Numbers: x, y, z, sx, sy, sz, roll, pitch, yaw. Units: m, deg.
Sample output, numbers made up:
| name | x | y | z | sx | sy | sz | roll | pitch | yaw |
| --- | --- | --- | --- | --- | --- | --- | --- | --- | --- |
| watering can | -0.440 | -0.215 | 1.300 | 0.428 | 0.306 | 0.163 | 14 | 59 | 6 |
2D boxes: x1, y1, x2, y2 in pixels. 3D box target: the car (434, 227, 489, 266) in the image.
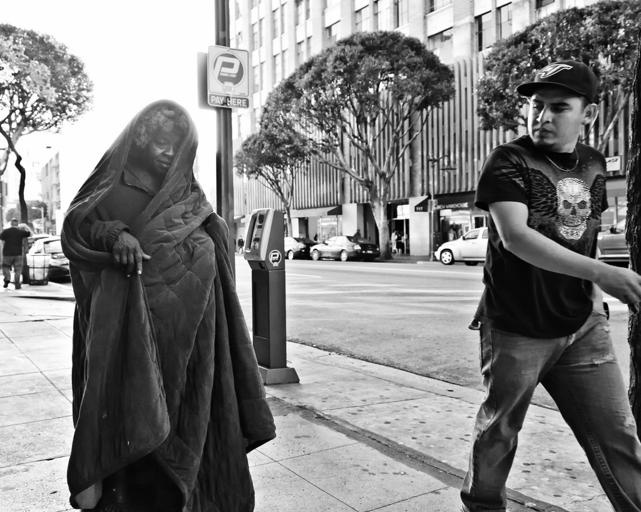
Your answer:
| name | x | y | z | sx | sy | sz | roll | pitch | yaw |
| --- | --- | --- | --- | --- | --- | --- | --- | --- | --- |
| car | 5.290 | -0.376 | 25.236 | 2.462 | 1.522 | 1.431 | 6 | 5 | 39 |

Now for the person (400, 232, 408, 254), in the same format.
| name | x | y | z | sx | sy | sz | roll | pitch | yaw |
| --- | --- | --- | --- | --- | --- | --- | --- | --- | --- |
| person | 4.553 | -0.711 | 36.673 | 0.260 | 1.125 | 0.806 | -1 | 3 | -21 |

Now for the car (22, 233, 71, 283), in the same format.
| name | x | y | z | sx | sy | sz | roll | pitch | yaw |
| --- | --- | --- | --- | --- | --- | --- | --- | --- | --- |
| car | -6.353 | 0.116 | 15.608 | 0.993 | 1.091 | 2.244 | -1 | 5 | -25 |

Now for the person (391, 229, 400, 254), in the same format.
| name | x | y | z | sx | sy | sz | roll | pitch | yaw |
| --- | --- | --- | --- | --- | --- | --- | --- | --- | --- |
| person | 4.160 | -0.790 | 37.147 | 0.481 | 1.269 | 0.562 | 0 | 3 | 6 |

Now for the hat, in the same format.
| name | x | y | z | sx | sy | sz | roll | pitch | yaw |
| --- | --- | --- | --- | --- | --- | --- | --- | --- | --- |
| hat | 1.072 | -0.788 | 3.039 | 0.261 | 0.152 | 0.208 | 17 | 7 | -5 |
